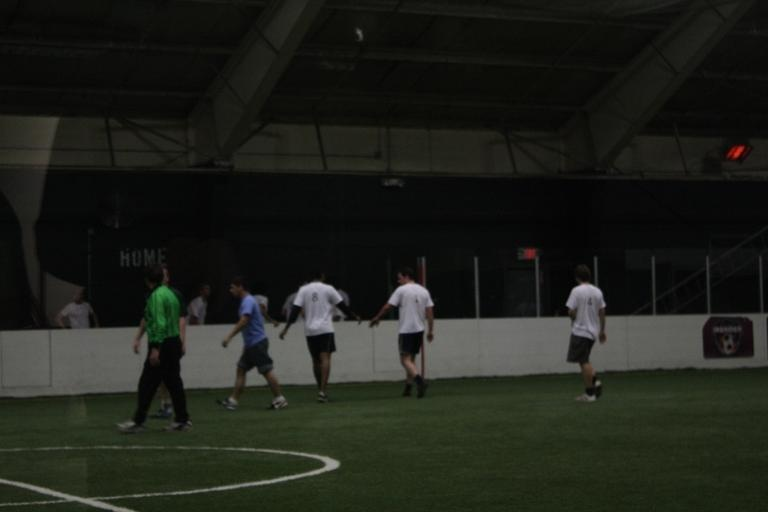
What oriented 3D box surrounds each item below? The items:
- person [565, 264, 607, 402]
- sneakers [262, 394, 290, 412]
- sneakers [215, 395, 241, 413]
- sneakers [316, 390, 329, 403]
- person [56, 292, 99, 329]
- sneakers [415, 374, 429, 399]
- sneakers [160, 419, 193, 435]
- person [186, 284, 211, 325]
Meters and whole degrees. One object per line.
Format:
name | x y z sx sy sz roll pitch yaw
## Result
person | 3.888 1.444 17.617 0.693 2.625 0.904 -1 -6 11
sneakers | -2.124 2.842 17.825 0.571 0.276 0.219 -13 18 28
sneakers | -2.933 2.863 17.701 0.580 0.280 0.224 20 -11 0
sneakers | -1.235 2.858 18.703 0.136 0.155 0.381 1 -5 7
person | -7.555 1.266 22.791 0.841 1.017 0.752 -4 -7 33
sneakers | 0.758 2.631 18.574 0.213 0.615 0.288 -20 32 -36
sneakers | -3.465 2.881 15.483 0.523 0.256 0.196 4 -4 -2
person | -4.658 1.234 23.086 0.541 1.342 0.677 3 14 -3
